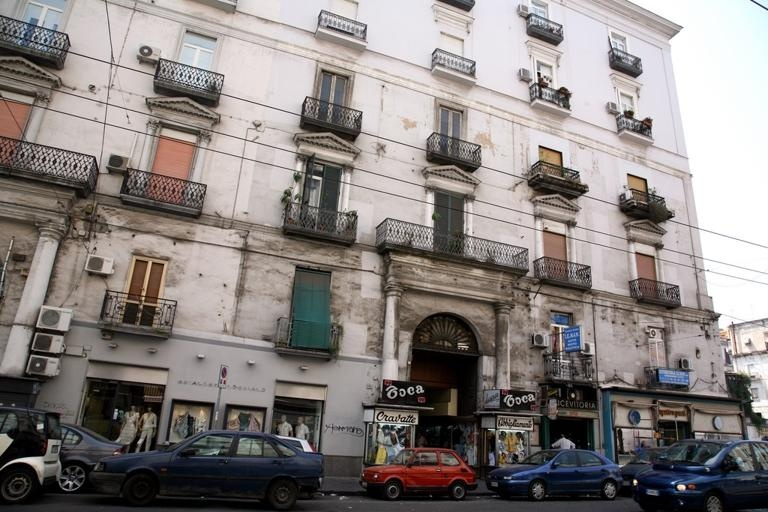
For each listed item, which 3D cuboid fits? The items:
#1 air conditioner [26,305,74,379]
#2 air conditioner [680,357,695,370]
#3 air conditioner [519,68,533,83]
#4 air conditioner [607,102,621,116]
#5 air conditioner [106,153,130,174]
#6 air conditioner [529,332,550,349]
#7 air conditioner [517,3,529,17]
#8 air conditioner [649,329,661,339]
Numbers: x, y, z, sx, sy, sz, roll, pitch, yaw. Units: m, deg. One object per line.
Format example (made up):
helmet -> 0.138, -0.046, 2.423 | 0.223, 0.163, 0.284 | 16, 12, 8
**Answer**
air conditioner -> -14.287, 3.615, 26.297 | 1.342, 2.909, 0.853 | 13, -23, -24
air conditioner -> 17.798, 6.409, 36.598 | 1.214, 0.852, 0.425 | 17, -25, -33
air conditioner -> 8.519, -10.976, 37.530 | 0.919, 0.805, 0.478 | 10, -31, -18
air conditioner -> 14.695, -9.489, 39.784 | 0.889, 0.756, 0.410 | 11, -29, -32
air conditioner -> -12.349, -4.263, 28.560 | 0.978, 0.887, 0.428 | 8, -1, -25
air conditioner -> 8.402, 4.608, 33.457 | 1.307, 1.059, 0.761 | 5, -13, -21
air conditioner -> 8.644, -15.446, 38.803 | 0.906, 0.718, 0.470 | 2, -22, -23
air conditioner -> 15.936, 4.619, 36.604 | 0.743, 0.635, 0.182 | -3, -9, -30
